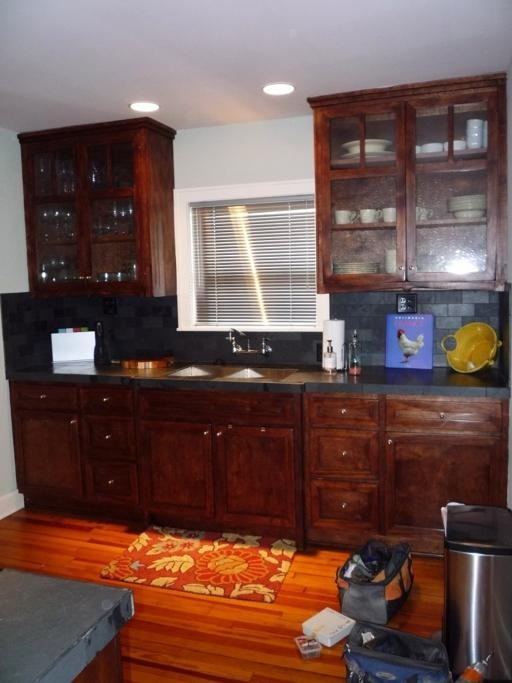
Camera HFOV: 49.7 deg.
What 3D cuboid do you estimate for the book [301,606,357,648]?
[{"bbox_3d":[0.297,1.160,2.283,0.151,0.039,0.148,2,6,45],"label":"book"}]

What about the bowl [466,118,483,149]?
[{"bbox_3d":[1.124,-1.066,2.841,0.083,0.150,0.022,-1,7,17],"label":"bowl"}]

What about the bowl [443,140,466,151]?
[{"bbox_3d":[1.039,-1.026,2.880,0.072,0.028,0.070,0,3,0],"label":"bowl"}]

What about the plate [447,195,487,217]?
[{"bbox_3d":[1.104,-0.706,2.873,0.129,0.056,0.127,0,5,16],"label":"plate"}]

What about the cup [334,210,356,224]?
[{"bbox_3d":[0.498,-0.694,3.092,0.104,0.070,0.078,3,7,17],"label":"cup"}]

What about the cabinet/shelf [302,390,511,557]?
[{"bbox_3d":[0.768,0.622,2.718,0.964,0.758,0.360,1,2,17],"label":"cabinet/shelf"}]

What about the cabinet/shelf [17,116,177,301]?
[{"bbox_3d":[-1.008,-0.895,3.549,1.119,1.156,0.459,2,7,15],"label":"cabinet/shelf"}]

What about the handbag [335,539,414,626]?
[{"bbox_3d":[0.517,1.067,2.455,0.288,0.236,0.358,1,7,27],"label":"handbag"}]

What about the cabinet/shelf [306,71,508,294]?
[{"bbox_3d":[0.833,-0.872,2.926,1.128,1.073,0.310,1,6,20],"label":"cabinet/shelf"}]

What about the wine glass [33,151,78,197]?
[{"bbox_3d":[-1.302,-1.109,3.618,0.326,0.271,0.106,2,3,19],"label":"wine glass"}]

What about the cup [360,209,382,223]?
[{"bbox_3d":[0.630,-0.693,3.049,0.095,0.064,0.072,4,7,20],"label":"cup"}]

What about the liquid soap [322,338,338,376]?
[{"bbox_3d":[0.435,0.087,3.265,0.075,0.176,0.246,-2,7,8],"label":"liquid soap"}]

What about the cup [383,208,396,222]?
[{"bbox_3d":[0.726,-0.690,3.014,0.077,0.077,0.076,0,-1,0],"label":"cup"}]
